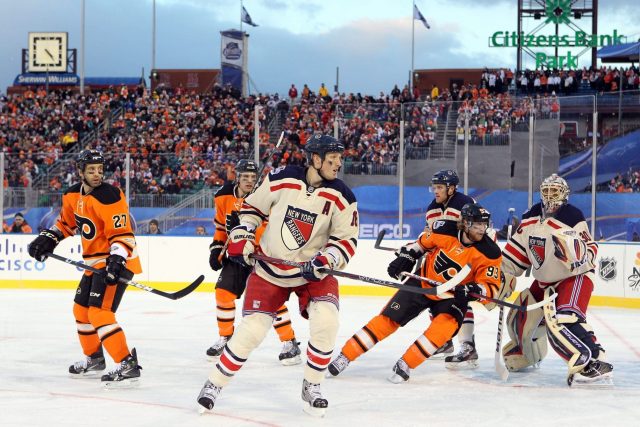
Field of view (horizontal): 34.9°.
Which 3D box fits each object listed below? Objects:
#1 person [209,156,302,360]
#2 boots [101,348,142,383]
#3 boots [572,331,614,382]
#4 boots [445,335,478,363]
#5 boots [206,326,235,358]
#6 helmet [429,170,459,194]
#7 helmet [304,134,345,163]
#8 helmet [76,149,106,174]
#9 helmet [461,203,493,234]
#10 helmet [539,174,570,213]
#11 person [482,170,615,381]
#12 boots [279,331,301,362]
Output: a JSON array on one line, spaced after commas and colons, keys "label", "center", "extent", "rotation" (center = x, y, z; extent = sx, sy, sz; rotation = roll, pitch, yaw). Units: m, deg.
[{"label": "person", "center": [-0.909, 0.568, 13.215], "extent": [0.993, 2.584, 1.225], "rotation": [0, 1, 8]}, {"label": "boots", "center": [-2.369, 1.816, 12.141], "extent": [0.466, 0.419, 0.190], "rotation": [-2, 11, -12]}, {"label": "boots", "center": [3.305, 1.759, 12.433], "extent": [0.503, 0.612, 0.295], "rotation": [3, 11, 15]}, {"label": "boots", "center": [1.854, 1.801, 13.284], "extent": [0.558, 0.413, 0.204], "rotation": [-1, -5, -6]}, {"label": "boots", "center": [-1.262, 1.639, 12.939], "extent": [0.165, 0.202, 0.508], "rotation": [14, 47, 27]}, {"label": "helmet", "center": [1.597, -0.425, 13.106], "extent": [0.319, 0.254, 0.246], "rotation": [-1, -5, -18]}, {"label": "helmet", "center": [0.030, -0.766, 11.623], "extent": [0.338, 0.336, 0.299], "rotation": [-11, 5, 5]}, {"label": "helmet", "center": [-2.748, -0.630, 12.264], "extent": [0.280, 0.280, 0.254], "rotation": [-15, -1, 11]}, {"label": "helmet", "center": [1.928, 0.049, 12.580], "extent": [0.358, 0.374, 0.312], "rotation": [-1, 6, 33]}, {"label": "helmet", "center": [2.914, -0.245, 12.913], "extent": [0.343, 0.469, 0.476], "rotation": [0, 2, 30]}, {"label": "person", "center": [2.986, 0.727, 12.878], "extent": [1.009, 2.577, 1.279], "rotation": [0, 1, 6]}, {"label": "boots", "center": [-0.365, 1.811, 13.161], "extent": [0.154, 0.305, 0.472], "rotation": [-5, -18, 3]}]
